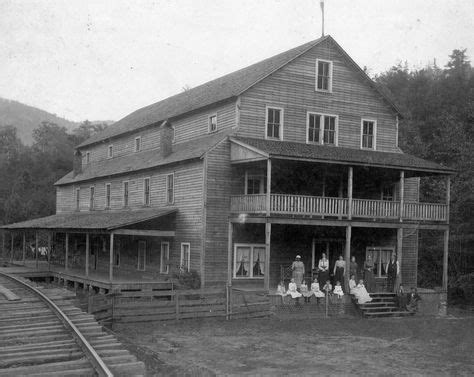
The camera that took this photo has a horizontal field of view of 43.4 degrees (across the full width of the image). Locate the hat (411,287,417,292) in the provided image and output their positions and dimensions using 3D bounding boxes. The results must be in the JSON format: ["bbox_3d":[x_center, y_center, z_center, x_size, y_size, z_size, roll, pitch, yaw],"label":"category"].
[{"bbox_3d":[9.198,5.250,31.031,0.221,0.121,0.334,3,-2,-1],"label":"hat"}]

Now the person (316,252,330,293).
[{"bbox_3d":[4.370,4.138,29.989,0.543,1.859,0.531,4,19,12],"label":"person"}]

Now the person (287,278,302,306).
[{"bbox_3d":[2.706,4.821,27.970,0.715,1.233,0.398,3,0,1],"label":"person"}]

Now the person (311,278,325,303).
[{"bbox_3d":[3.854,4.833,28.310,0.755,1.199,0.488,3,0,-28],"label":"person"}]

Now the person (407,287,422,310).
[{"bbox_3d":[8.975,5.679,30.450,0.574,1.284,0.347,7,4,15],"label":"person"}]

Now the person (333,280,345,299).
[{"bbox_3d":[4.924,4.933,29.092,0.484,0.852,0.682,2,-1,41],"label":"person"}]

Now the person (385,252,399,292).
[{"bbox_3d":[8.061,4.349,30.948,0.551,2.035,1.010,3,0,14],"label":"person"}]

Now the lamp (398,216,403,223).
[{"bbox_3d":[8.697,1.641,31.729,0.217,0.513,0.245,2,-1,-18],"label":"lamp"}]

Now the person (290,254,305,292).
[{"bbox_3d":[3.041,4.124,29.199,0.561,1.684,0.424,-4,-32,6],"label":"person"}]
